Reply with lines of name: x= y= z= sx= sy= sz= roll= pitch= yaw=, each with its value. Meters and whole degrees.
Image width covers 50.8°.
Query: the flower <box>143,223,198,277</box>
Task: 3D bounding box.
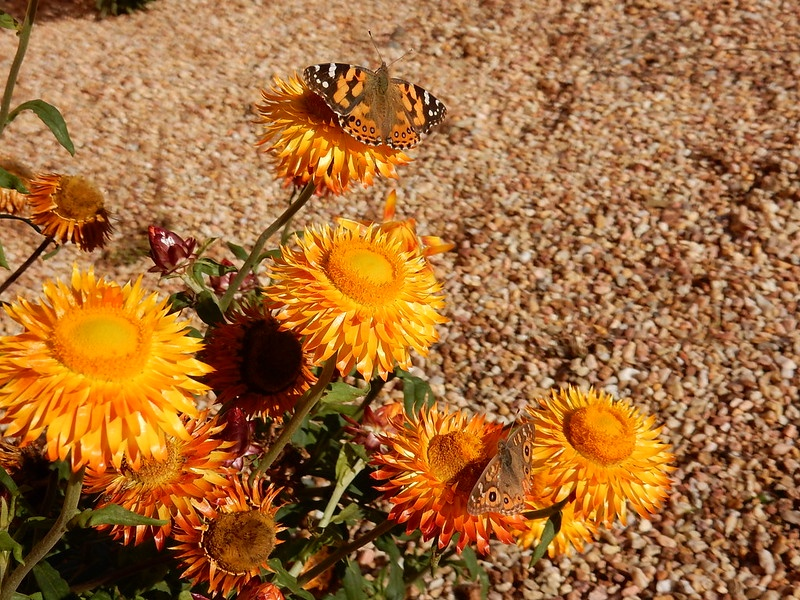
flower: x=-0.968 y=-0.196 z=3.566 sx=0.192 sy=0.218 sz=0.165 roll=-21 pitch=-50 yaw=32

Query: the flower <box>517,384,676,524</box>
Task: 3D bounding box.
flower: x=0.835 y=0.606 z=3.579 sx=0.712 sy=0.207 sz=0.635 roll=10 pitch=24 yaw=-18

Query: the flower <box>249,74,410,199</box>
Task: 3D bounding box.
flower: x=-0.332 y=-0.654 z=3.829 sx=0.672 sy=0.414 sz=0.596 roll=38 pitch=-7 yaw=15

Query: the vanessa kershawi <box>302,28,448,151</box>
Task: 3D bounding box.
vanessa kershawi: x=-0.083 y=-0.893 z=3.807 sx=0.747 sy=0.451 sz=0.057 roll=8 pitch=-7 yaw=-30

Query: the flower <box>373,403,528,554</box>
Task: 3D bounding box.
flower: x=0.240 y=0.638 z=3.285 sx=0.644 sy=0.194 sz=0.589 roll=-4 pitch=18 yaw=6

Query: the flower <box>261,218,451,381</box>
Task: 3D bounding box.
flower: x=-0.190 y=-0.014 z=3.391 sx=0.681 sy=0.183 sz=0.665 roll=-22 pitch=6 yaw=-22
